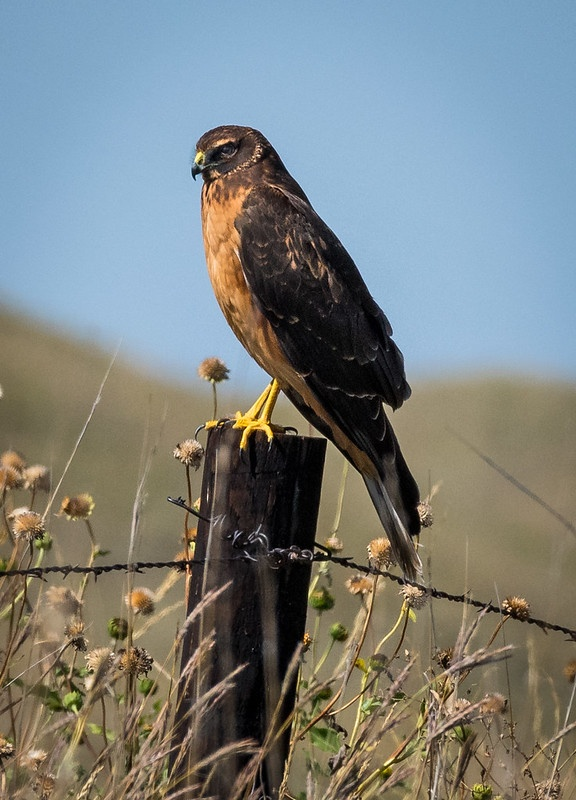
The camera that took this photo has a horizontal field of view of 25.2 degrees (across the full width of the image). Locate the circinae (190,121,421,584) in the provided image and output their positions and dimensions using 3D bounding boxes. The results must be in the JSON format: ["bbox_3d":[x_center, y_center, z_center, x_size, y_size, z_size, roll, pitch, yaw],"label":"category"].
[{"bbox_3d":[0.084,-0.357,5.430,0.868,1.701,1.928,-8,-69,12],"label":"circinae"}]
